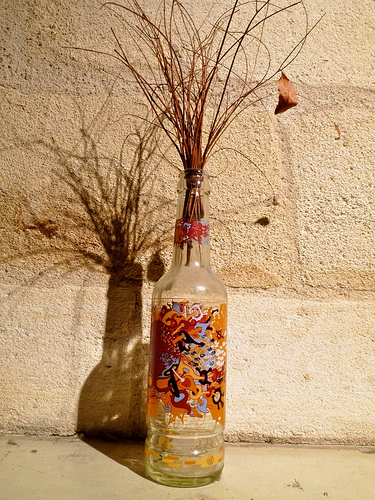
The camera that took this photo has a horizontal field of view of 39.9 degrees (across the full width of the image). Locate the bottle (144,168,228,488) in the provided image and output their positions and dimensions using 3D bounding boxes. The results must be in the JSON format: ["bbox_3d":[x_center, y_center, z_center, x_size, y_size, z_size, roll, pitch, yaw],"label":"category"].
[{"bbox_3d":[0.004,0.111,0.817,0.123,0.486,0.146,3,6,-4],"label":"bottle"}]
